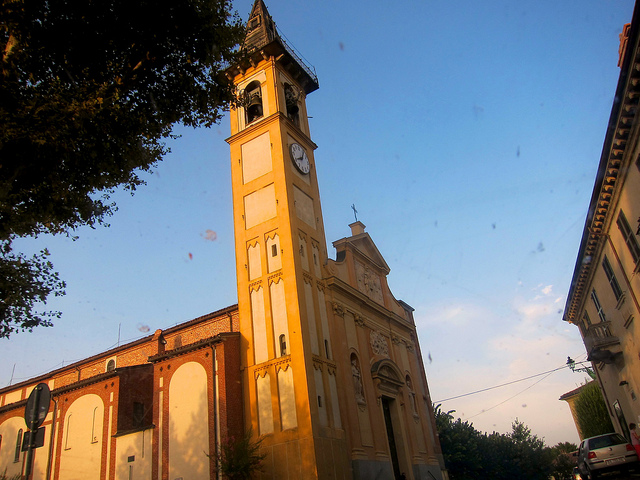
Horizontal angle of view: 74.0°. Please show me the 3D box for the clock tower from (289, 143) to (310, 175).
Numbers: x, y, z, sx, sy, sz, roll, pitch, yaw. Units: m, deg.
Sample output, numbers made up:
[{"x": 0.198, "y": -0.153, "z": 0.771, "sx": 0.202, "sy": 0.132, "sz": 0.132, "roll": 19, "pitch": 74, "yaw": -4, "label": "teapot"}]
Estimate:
[{"x": -1.307, "y": -5.348, "z": 28.008, "sx": 0.232, "sy": 1.937, "sz": 1.892, "roll": -19, "pitch": -16, "yaw": 28, "label": "clock tower"}]

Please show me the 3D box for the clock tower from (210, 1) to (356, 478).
[{"x": -2.792, "y": -3.894, "z": 27.834, "sx": 5.658, "sy": 34.306, "sz": 4.757, "roll": 2, "pitch": -34, "yaw": -13, "label": "clock tower"}]

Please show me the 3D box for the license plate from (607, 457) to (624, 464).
[{"x": 13.380, "y": 9.993, "z": 19.268, "sx": 0.643, "sy": 0.197, "sz": 0.061, "roll": -20, "pitch": -35, "yaw": 14, "label": "license plate"}]
